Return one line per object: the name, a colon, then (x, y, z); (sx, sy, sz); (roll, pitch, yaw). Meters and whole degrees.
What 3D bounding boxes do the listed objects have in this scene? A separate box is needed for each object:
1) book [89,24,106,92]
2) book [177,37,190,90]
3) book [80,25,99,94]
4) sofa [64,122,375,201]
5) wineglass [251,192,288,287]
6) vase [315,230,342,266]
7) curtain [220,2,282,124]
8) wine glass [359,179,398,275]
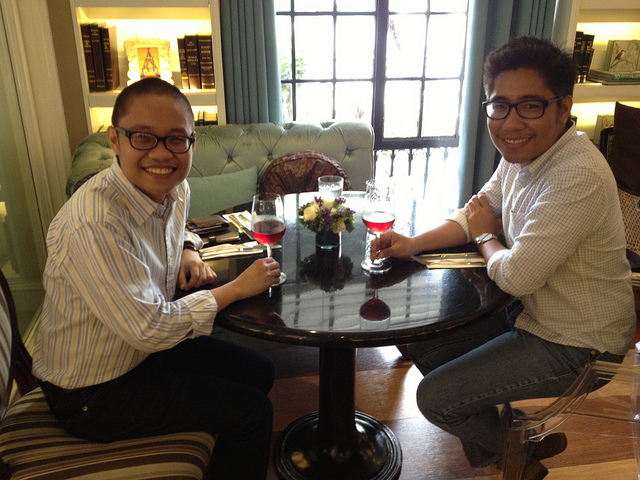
book: (-1.383, -1.156, 2.986); (0.060, 0.267, 0.252); (-6, 17, -22)
book: (-0.891, -1.157, 3.126); (0.055, 0.233, 0.222); (-5, -7, -7)
book: (-1.439, -1.108, 2.990); (0.068, 0.290, 0.272); (-9, 15, -27)
sofa: (-0.508, -0.507, 3.082); (1.782, 0.434, 0.611); (-9, 21, -21)
wineglass: (-0.181, -0.003, 1.701); (0.119, 0.294, 0.112); (0, 17, 7)
vase: (0.036, 0.027, 1.850); (0.116, 0.133, 0.118); (2, 20, 11)
curtain: (-0.462, -1.188, 3.238); (0.376, 0.773, 0.066); (-7, 20, -16)
wine glass: (0.214, -0.052, 1.770); (0.120, 0.294, 0.122); (-10, 18, -36)
